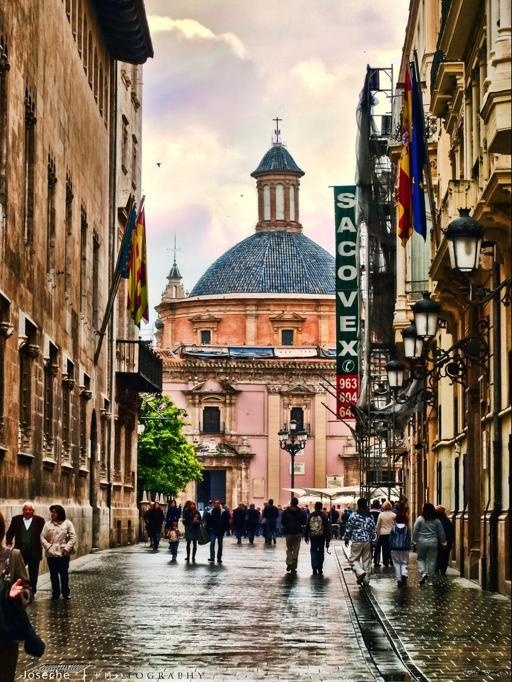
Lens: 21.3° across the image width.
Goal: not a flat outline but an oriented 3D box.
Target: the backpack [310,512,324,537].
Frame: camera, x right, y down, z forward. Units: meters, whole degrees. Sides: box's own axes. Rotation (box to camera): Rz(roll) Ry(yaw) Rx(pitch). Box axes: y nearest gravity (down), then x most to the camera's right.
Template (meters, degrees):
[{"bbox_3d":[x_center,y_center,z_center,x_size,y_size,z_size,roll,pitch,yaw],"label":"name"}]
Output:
[{"bbox_3d":[1.206,3.690,27.747,0.296,0.627,0.312,2,-37,1],"label":"backpack"}]
